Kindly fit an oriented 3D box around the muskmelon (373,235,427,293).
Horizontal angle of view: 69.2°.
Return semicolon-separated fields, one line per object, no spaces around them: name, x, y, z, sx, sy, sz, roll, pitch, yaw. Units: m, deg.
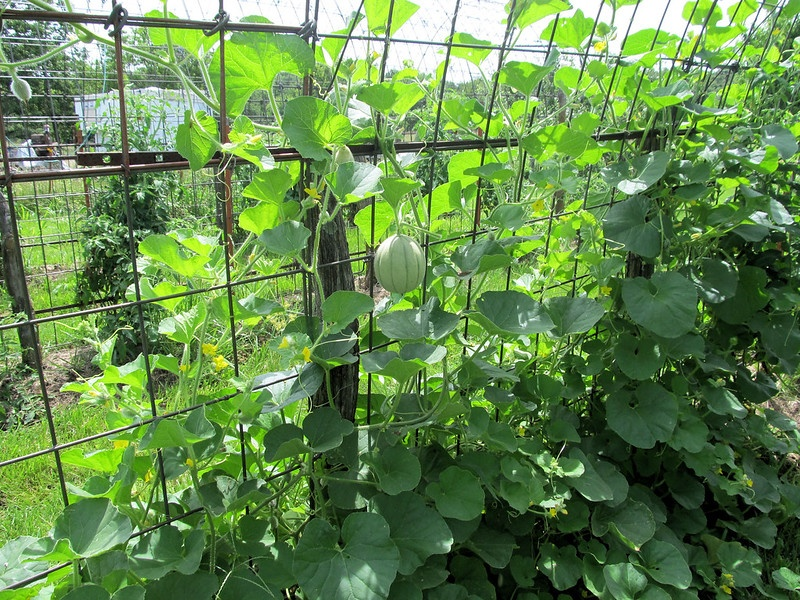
muskmelon;0.000;-0.127;1.902;0.170;0.215;0.176;-2;11;0
